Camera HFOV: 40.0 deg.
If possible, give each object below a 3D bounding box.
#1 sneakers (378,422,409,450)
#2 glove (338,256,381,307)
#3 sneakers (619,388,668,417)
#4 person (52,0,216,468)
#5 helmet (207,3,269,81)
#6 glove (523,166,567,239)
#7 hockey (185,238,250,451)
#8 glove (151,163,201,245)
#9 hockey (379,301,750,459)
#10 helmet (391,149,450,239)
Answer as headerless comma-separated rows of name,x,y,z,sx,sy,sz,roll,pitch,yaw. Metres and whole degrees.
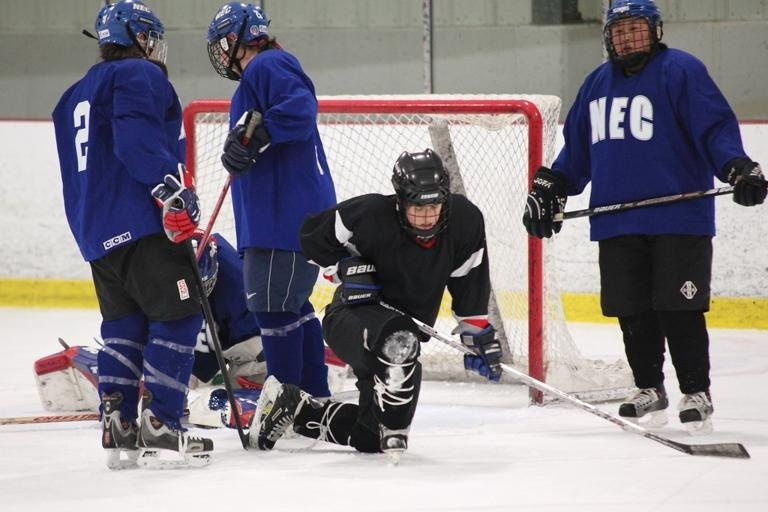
sneakers,0.046,0.828,4.765,0.109,0.126,0.110,3,47,-5
glove,-0.117,0.119,4.844,0.235,0.199,0.179,-8,3,-5
sneakers,1.301,0.734,5.319,0.317,0.120,0.104,-4,6,-24
person,-1.153,0.025,4.861,0.623,1.845,0.574,-3,10,-9
helmet,-0.723,-1.098,5.371,0.382,0.389,0.337,1,7,5
glove,0.826,-0.268,5.448,0.148,0.314,0.254,18,-12,-22
hockey,-0.847,0.466,5.383,0.064,1.261,0.185,-15,38,3
glove,-0.909,-0.244,4.759,0.152,0.293,0.249,-3,9,31
hockey,0.886,0.654,5.387,1.698,0.224,0.115,19,26,6
helmet,0.138,-0.302,4.882,0.307,0.376,0.373,-6,37,-4
